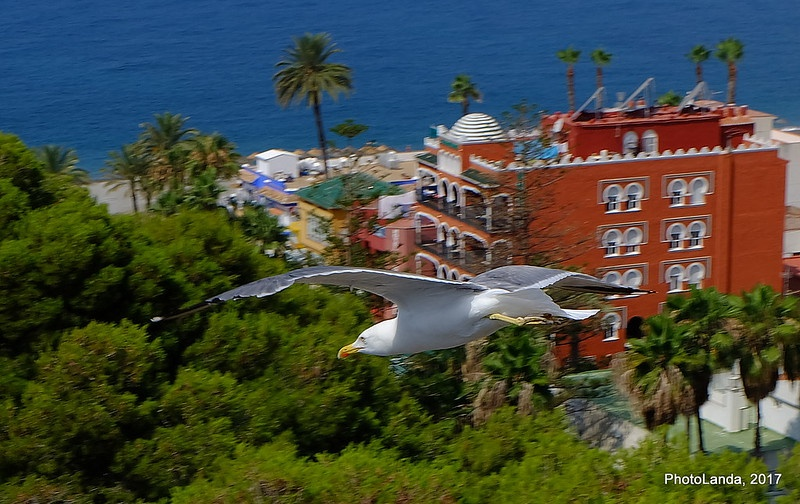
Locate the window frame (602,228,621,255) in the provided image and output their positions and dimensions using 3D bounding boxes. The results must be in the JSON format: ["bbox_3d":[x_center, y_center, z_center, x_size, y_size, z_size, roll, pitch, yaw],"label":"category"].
[{"bbox_3d":[16.860,-0.650,112.146,1.629,2.130,0.786,-9,27,-3],"label":"window frame"}]

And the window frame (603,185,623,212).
[{"bbox_3d":[16.869,-4.094,111.627,1.570,2.157,0.611,-11,28,-9],"label":"window frame"}]
